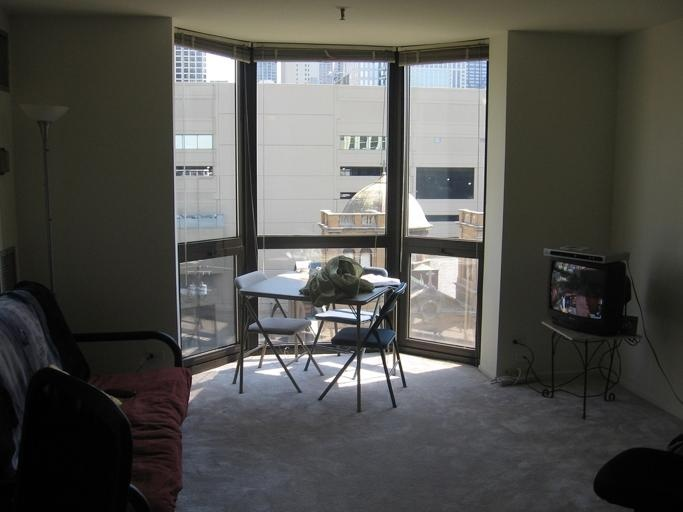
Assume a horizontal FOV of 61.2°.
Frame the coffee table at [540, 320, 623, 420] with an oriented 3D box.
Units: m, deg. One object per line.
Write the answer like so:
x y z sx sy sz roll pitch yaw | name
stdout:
2.036 0.880 4.736 0.695 0.687 0.705 -1 6 -23 | coffee table

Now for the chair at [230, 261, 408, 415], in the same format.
-0.176 0.580 4.967 1.388 0.996 1.018 1 7 17 | chair

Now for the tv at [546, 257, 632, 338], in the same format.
1.801 0.278 4.404 0.537 0.577 0.558 1 6 -33 | tv
